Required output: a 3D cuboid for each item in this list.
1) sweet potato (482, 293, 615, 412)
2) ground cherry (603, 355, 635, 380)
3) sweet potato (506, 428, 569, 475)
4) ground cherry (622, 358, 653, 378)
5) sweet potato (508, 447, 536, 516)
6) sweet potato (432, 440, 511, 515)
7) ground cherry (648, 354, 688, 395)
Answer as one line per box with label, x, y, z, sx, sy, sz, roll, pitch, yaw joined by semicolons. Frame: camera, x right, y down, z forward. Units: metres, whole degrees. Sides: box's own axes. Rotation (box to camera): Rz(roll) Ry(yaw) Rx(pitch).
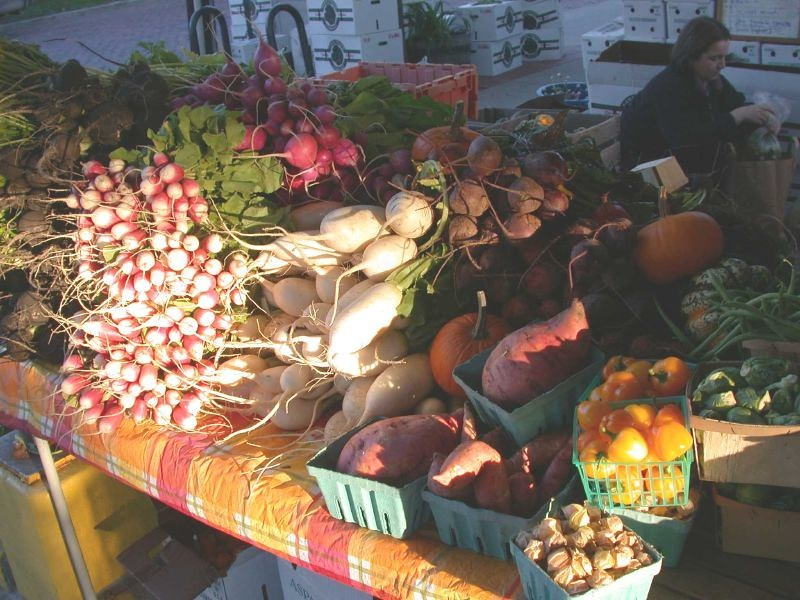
sweet potato;0.407;0.144;1.901;0.349;0.289;0.202;-5;19;9
ground cherry;0.643;0.193;1.884;0.071;0.035;0.073;-43;50;-11
sweet potato;0.402;0.431;1.855;0.234;0.084;0.079;-29;44;-8
ground cherry;0.698;0.197;1.849;0.059;0.038;0.048;-7;-6;16
sweet potato;0.333;0.505;1.754;0.068;0.155;0.058;6;-11;-18
sweet potato;0.187;0.490;1.733;0.223;0.179;0.110;-9;19;-1
ground cherry;0.754;0.197;1.838;0.098;0.107;0.126;21;17;42
